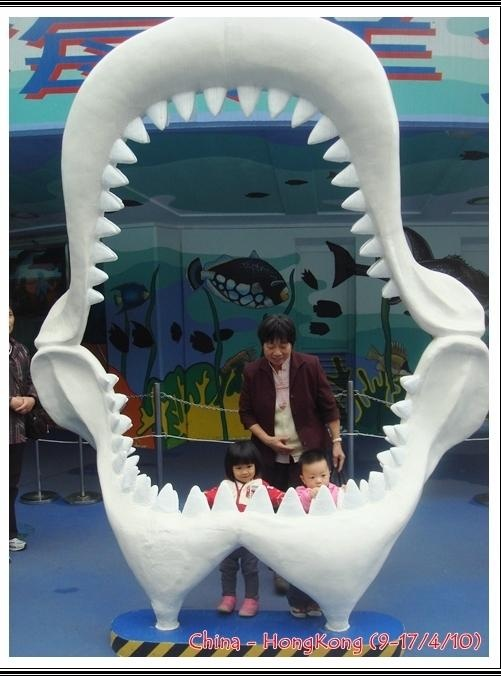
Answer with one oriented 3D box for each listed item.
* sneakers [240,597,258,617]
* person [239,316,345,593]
[{"bbox_3d":[-0.002,0.977,2.722,0.075,0.065,0.185,-2,-14,5],"label":"sneakers"},{"bbox_3d":[0.182,0.495,3.255,0.481,1.118,0.384,-1,10,8],"label":"person"}]
